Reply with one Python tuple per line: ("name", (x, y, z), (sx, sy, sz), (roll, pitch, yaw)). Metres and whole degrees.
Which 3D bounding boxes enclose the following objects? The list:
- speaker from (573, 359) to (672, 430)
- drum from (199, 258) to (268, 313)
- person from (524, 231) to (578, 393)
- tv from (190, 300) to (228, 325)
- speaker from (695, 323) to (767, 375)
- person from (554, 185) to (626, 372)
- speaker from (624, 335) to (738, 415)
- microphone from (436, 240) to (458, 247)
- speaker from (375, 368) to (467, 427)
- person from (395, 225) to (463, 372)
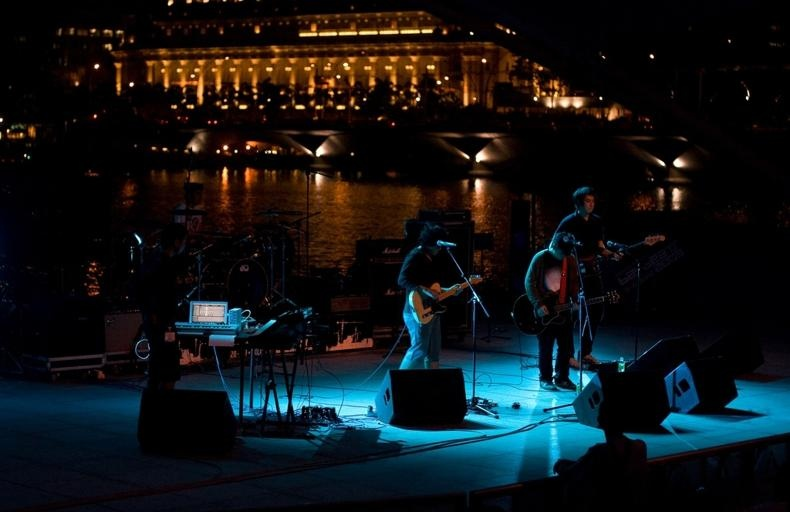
("speaker", (3.193, 1.978, 13.202), (1.122, 0.693, 0.899), (5, -10, -30))
("drum", (-3.219, 0.607, 18.995), (1.416, 1.066, 0.497), (2, -3, -8))
("person", (2.524, 0.896, 15.248), (0.928, 2.460, 0.887), (2, 2, 27))
("tv", (-2.812, 0.868, 14.018), (0.589, 0.327, 0.332), (2, 1, -1))
("speaker", (5.084, 1.453, 14.144), (0.804, 0.670, 1.004), (0, -4, 15))
("person", (3.195, 0.395, 16.081), (1.382, 3.254, 1.147), (2, -2, 39))
("speaker", (4.568, 1.864, 14.410), (1.492, 1.344, 1.299), (1, -39, -51))
("microphone", (0.790, -0.186, 14.407), (0.113, 0.121, 0.441), (46, -8, -12))
("speaker", (0.376, 2.034, 13.284), (1.280, 0.825, 0.395), (1, 10, 4))
("person", (0.490, 0.839, 14.681), (0.751, 2.603, 1.241), (1, 4, 38))
